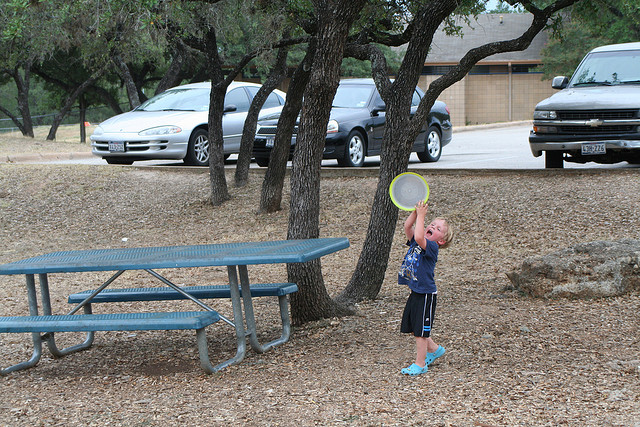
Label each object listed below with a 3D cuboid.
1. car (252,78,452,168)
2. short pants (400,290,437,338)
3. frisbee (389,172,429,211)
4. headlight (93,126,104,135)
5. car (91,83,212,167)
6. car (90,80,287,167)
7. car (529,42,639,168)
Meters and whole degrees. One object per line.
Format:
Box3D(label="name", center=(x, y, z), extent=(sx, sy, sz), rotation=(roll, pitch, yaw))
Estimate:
Box3D(label="car", center=(1.142, -2.047, 16.570), extent=(2.002, 1.364, 4.487), rotation=(3, 6, 41))
Box3D(label="short pants", center=(0.863, 0.887, 6.665), extent=(0.280, 0.413, 0.246), rotation=(3, 14, 20))
Box3D(label="frisbee", center=(0.856, -0.191, 7.099), extent=(0.300, 0.362, 0.529), rotation=(-7, 14, -19))
Box3D(label="headlight", center=(-4.888, -1.854, 16.699), extent=(0.252, 0.229, 0.064), rotation=(-1, -19, 20))
Box3D(label="car", center=(-3.629, -1.813, 16.731), extent=(2.465, 1.685, 2.253), rotation=(-4, 13, -8))
Box3D(label="car", center=(-2.766, -2.208, 17.533), extent=(2.260, 1.335, 4.469), rotation=(1, 5, 35))
Box3D(label="car", center=(4.761, -1.918, 13.305), extent=(1.605, 1.279, 2.879), rotation=(0, 2, 31))
